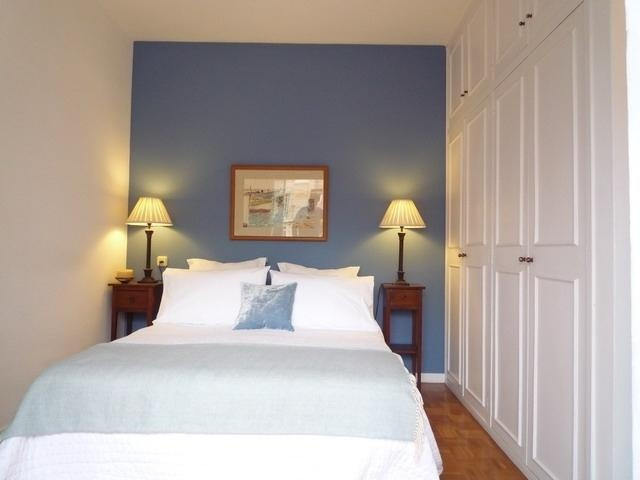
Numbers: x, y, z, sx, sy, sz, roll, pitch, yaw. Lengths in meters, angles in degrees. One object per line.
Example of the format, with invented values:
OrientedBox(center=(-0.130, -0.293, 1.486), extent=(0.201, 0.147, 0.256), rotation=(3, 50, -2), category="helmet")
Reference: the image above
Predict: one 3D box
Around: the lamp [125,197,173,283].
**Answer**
OrientedBox(center=(-1.575, -0.022, 4.516), extent=(0.397, 0.729, 0.379), rotation=(1, 0, -18), category="lamp")

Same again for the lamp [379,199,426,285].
OrientedBox(center=(0.740, -0.002, 4.456), extent=(0.421, 0.751, 0.341), rotation=(1, 0, 10), category="lamp")

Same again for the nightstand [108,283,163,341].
OrientedBox(center=(-1.609, 0.632, 4.451), extent=(0.424, 0.701, 0.526), rotation=(0, -3, -4), category="nightstand")
